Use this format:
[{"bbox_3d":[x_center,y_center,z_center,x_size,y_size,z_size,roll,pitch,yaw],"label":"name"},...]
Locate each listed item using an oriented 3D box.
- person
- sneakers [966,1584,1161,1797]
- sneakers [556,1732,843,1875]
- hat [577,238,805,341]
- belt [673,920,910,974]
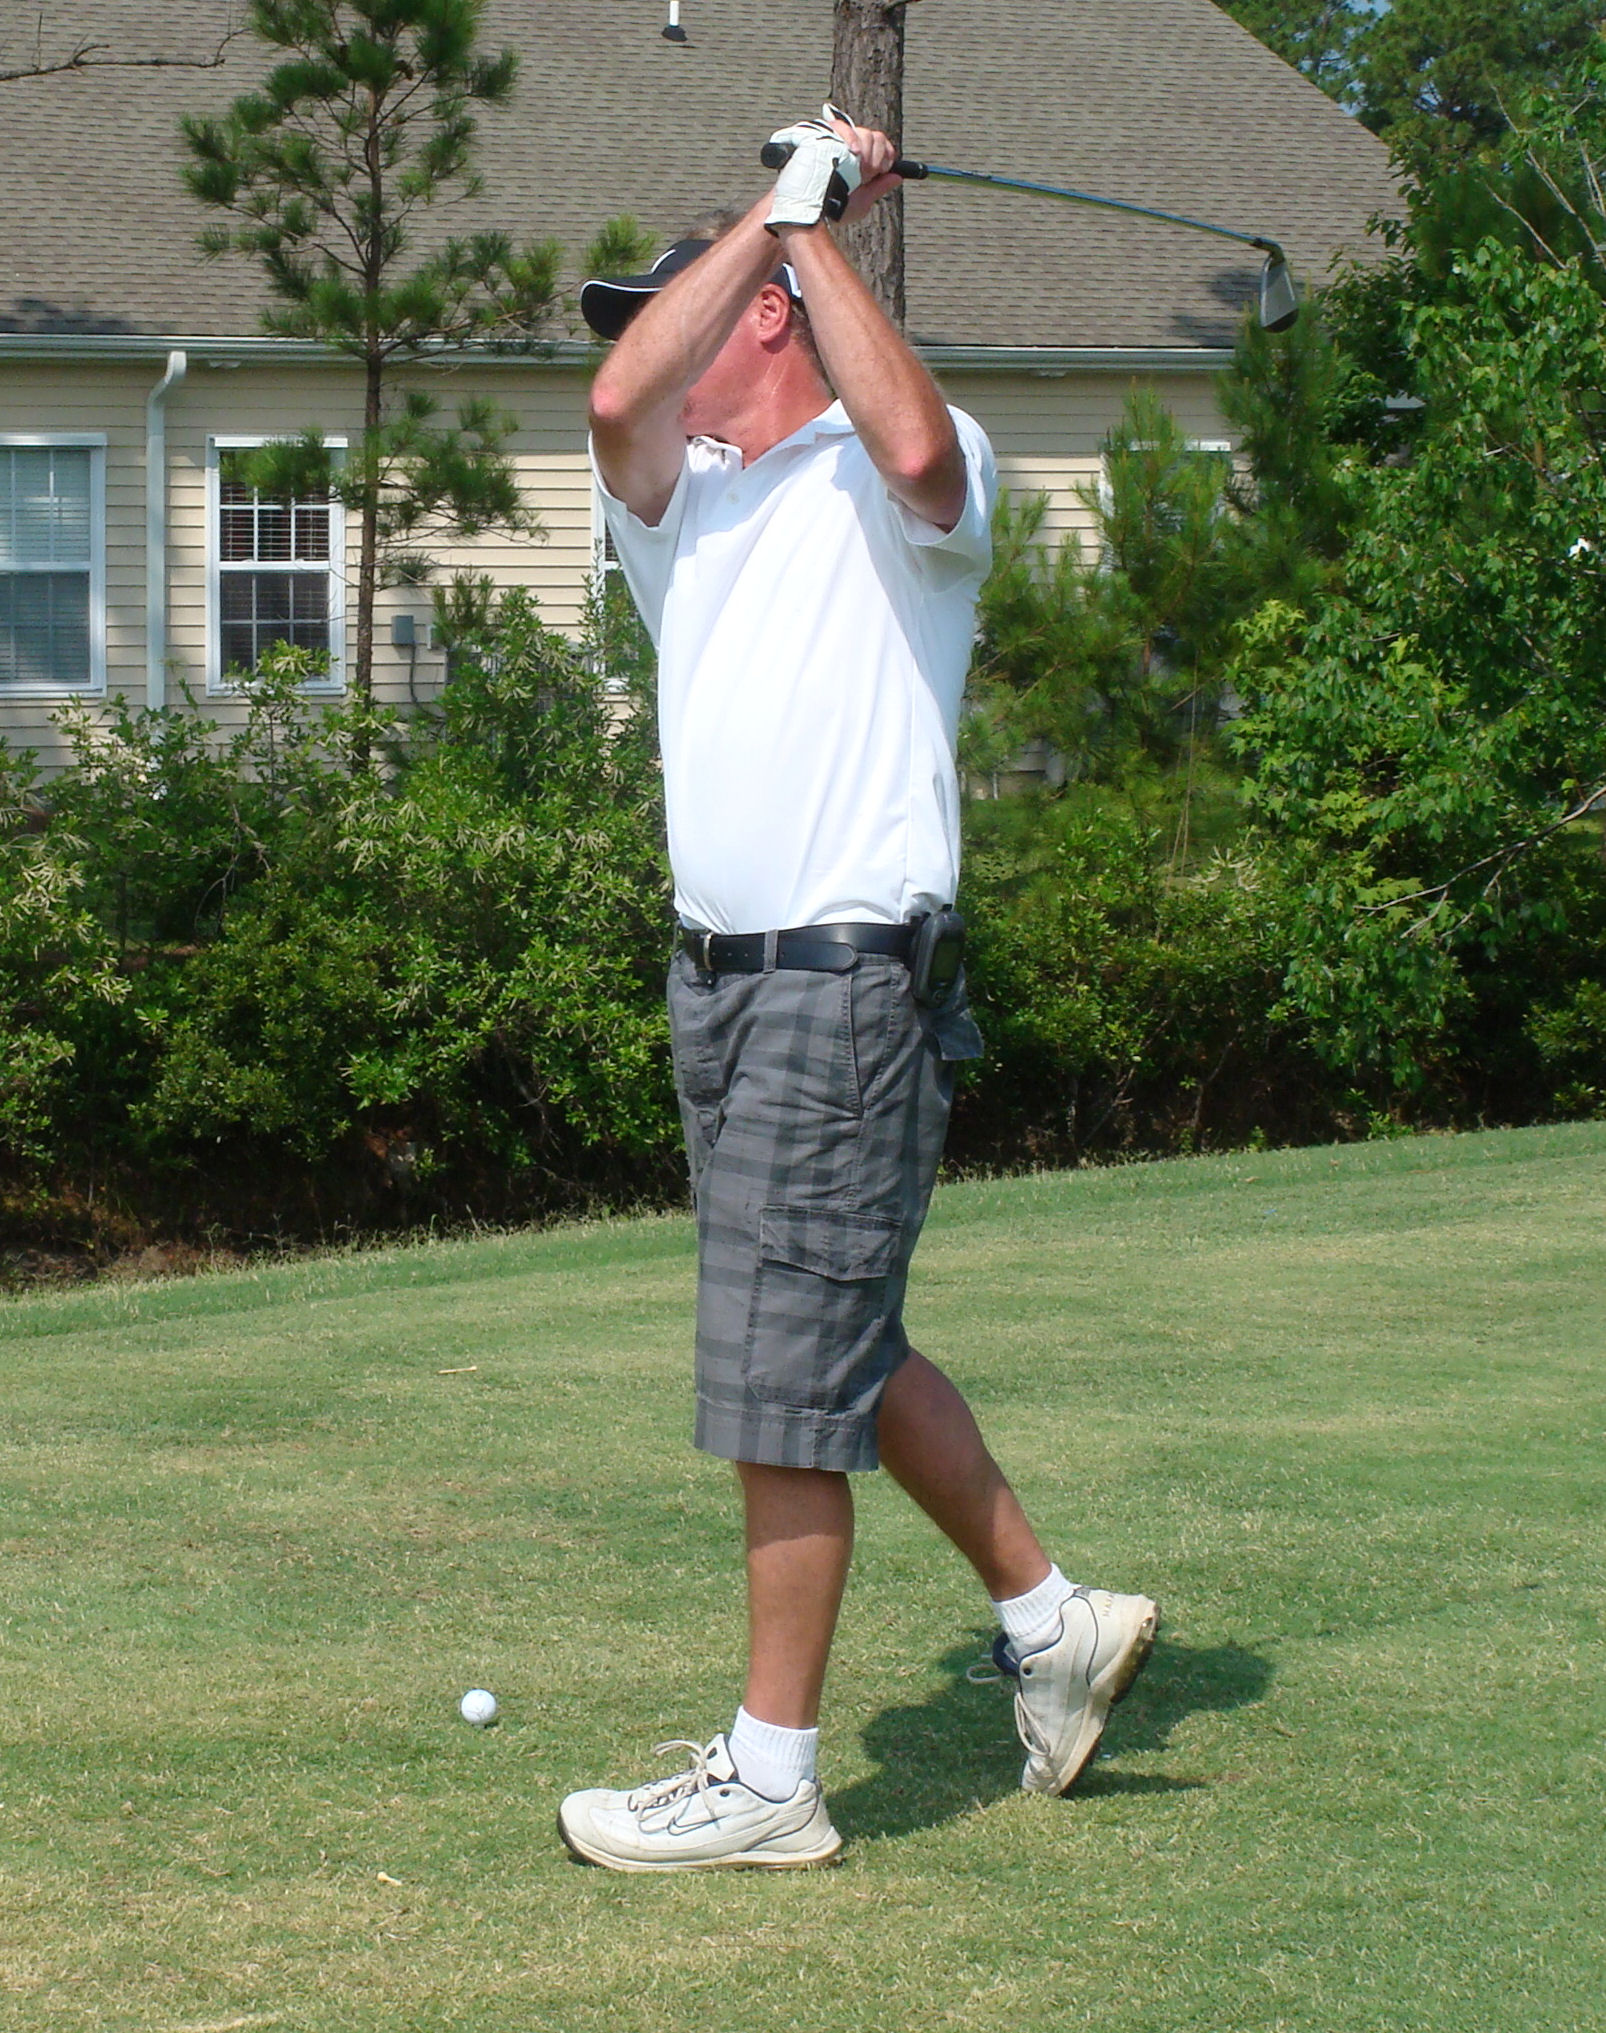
[{"bbox_3d":[0.056,-0.068,3.928,0.665,2.081,0.787,0,10,5],"label":"person"},{"bbox_3d":[0.333,0.822,3.987,0.172,0.297,0.116,16,32,5],"label":"sneakers"},{"bbox_3d":[-0.119,0.950,3.831,0.364,0.139,0.125,2,-3,-3],"label":"sneakers"},{"bbox_3d":[-0.137,-0.968,4.178,0.273,0.077,0.147,-12,7,-13],"label":"hat"},{"bbox_3d":[-0.030,-0.078,3.918,0.318,0.071,0.103,3,10,24],"label":"belt"}]
